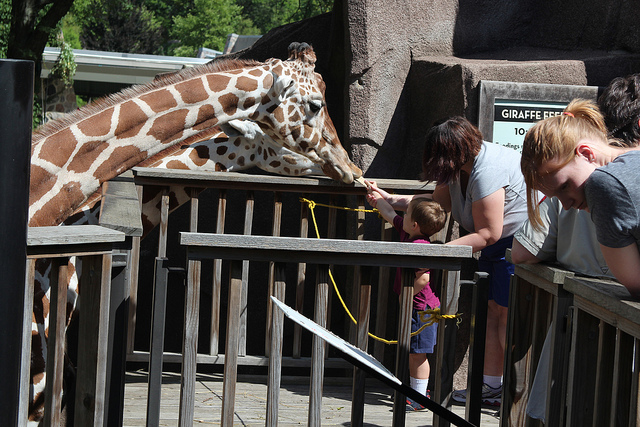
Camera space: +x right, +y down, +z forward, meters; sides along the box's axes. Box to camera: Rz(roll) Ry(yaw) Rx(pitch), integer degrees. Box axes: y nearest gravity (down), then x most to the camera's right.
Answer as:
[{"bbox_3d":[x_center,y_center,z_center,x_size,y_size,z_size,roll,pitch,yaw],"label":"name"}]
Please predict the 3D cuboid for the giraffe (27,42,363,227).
[{"bbox_3d":[-1.369,-0.437,9.495,3.605,2.032,1.044,-1,2,-25],"label":"giraffe"}]
